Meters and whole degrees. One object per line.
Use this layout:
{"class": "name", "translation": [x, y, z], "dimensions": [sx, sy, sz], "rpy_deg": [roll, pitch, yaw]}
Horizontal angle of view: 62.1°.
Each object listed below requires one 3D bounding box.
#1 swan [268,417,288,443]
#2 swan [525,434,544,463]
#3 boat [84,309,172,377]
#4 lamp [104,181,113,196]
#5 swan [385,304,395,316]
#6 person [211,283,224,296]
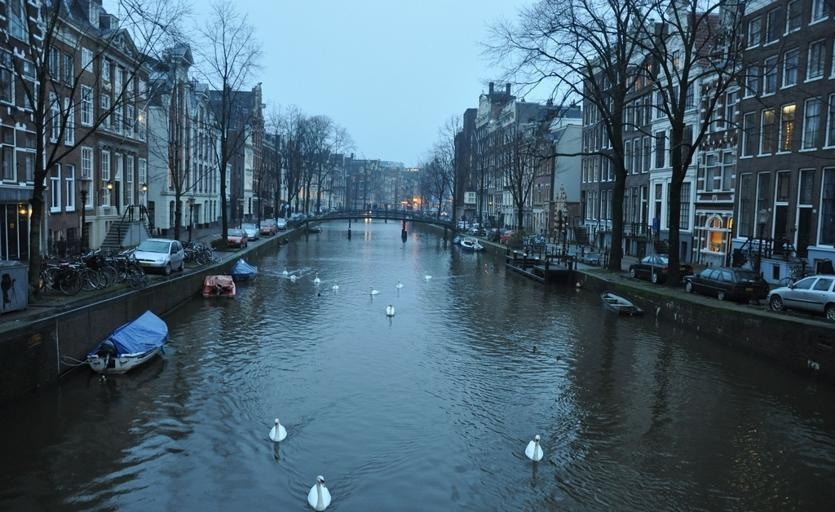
{"class": "swan", "translation": [-5.183, 6.531, 26.000], "dimensions": [0.602, 0.883, 0.891], "rpy_deg": [0, 2, -6]}
{"class": "swan", "translation": [4.312, 6.876, 25.274], "dimensions": [0.610, 0.975, 0.805], "rpy_deg": [6, 8, 32]}
{"class": "boat", "translation": [-12.680, 4.011, 30.819], "dimensions": [1.833, 1.975, 3.226], "rpy_deg": [5, 8, 25]}
{"class": "lamp", "translation": [-24.614, -5.364, 55.284], "dimensions": [0.285, 1.053, 1.590], "rpy_deg": [0, 7, -10]}
{"class": "swan", "translation": [-1.501, 3.068, 39.565], "dimensions": [0.524, 0.555, 1.494], "rpy_deg": [1, 7, -3]}
{"class": "person", "translation": [-12.481, 2.160, 43.241], "dimensions": [0.769, 0.617, 0.354], "rpy_deg": [4, 8, 22]}
